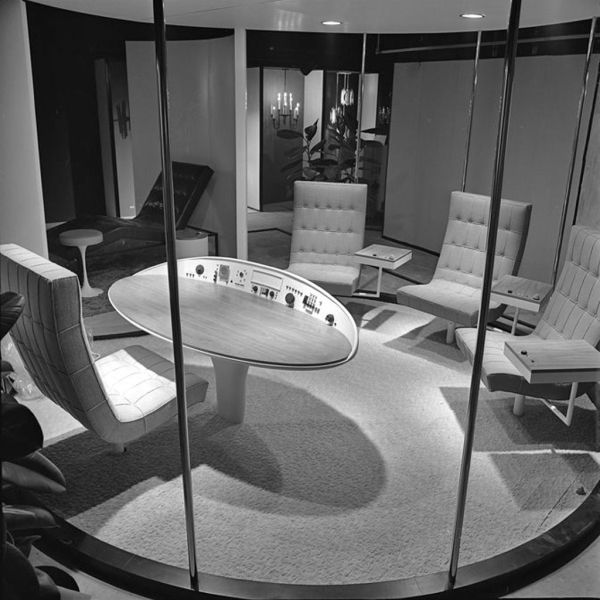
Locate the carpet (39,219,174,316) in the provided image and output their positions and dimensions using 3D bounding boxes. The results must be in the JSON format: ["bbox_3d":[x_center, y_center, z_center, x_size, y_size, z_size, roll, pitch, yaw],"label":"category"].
[{"bbox_3d":[-1.827,-0.566,4.496,0.724,0.650,1.068,-13,25,-33],"label":"carpet"}]

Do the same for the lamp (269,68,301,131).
[{"bbox_3d":[-0.158,-2.765,6.750,0.271,0.777,0.544,18,26,38],"label":"lamp"}]

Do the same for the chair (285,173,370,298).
[{"bbox_3d":[0.241,-0.558,4.767,0.865,1.434,1.060,6,30,7],"label":"chair"}]
